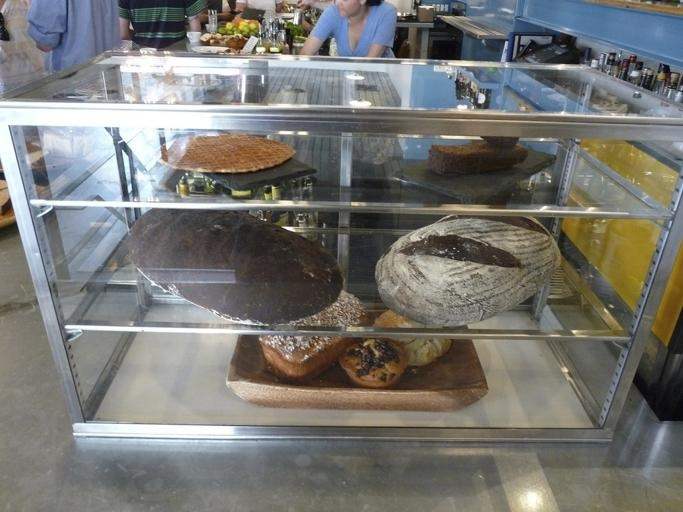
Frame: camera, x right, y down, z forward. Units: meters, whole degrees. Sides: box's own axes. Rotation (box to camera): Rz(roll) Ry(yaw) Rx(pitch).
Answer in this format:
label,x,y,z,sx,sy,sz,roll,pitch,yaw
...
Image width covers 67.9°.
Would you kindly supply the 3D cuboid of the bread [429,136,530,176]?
label,x,y,z,sx,sy,sz,roll,pitch,yaw
bread,0.342,-0.248,1.255,0.235,0.111,0.034,5,33,6
